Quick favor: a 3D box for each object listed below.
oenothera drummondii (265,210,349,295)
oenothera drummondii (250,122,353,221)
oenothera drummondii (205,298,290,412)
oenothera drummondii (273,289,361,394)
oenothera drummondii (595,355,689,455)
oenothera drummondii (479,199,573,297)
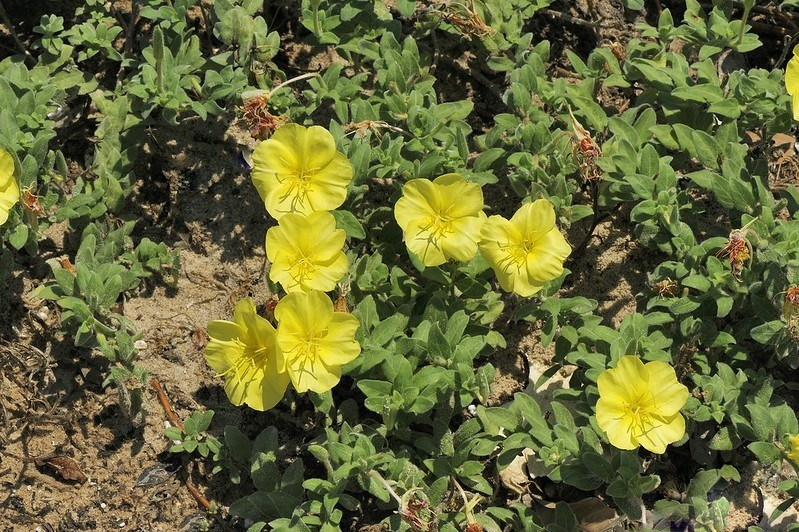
[{"bbox_3d":[-0.530,-0.081,4.216,0.415,0.337,0.274,2,37,-13],"label":"oenothera drummondii"},{"bbox_3d":[-0.580,-0.578,4.436,0.590,0.232,0.604,-6,-19,37],"label":"oenothera drummondii"},{"bbox_3d":[-0.774,0.443,4.112,0.589,0.260,0.621,-34,20,-5],"label":"oenothera drummondii"},{"bbox_3d":[-0.449,0.398,4.115,0.462,0.429,0.322,4,37,-11],"label":"oenothera drummondii"},{"bbox_3d":[1.270,0.713,4.086,0.416,0.174,0.427,24,24,-18],"label":"oenothera drummondii"},{"bbox_3d":[0.701,-0.197,4.363,0.388,0.209,0.456,-15,-24,30],"label":"oenothera drummondii"}]
